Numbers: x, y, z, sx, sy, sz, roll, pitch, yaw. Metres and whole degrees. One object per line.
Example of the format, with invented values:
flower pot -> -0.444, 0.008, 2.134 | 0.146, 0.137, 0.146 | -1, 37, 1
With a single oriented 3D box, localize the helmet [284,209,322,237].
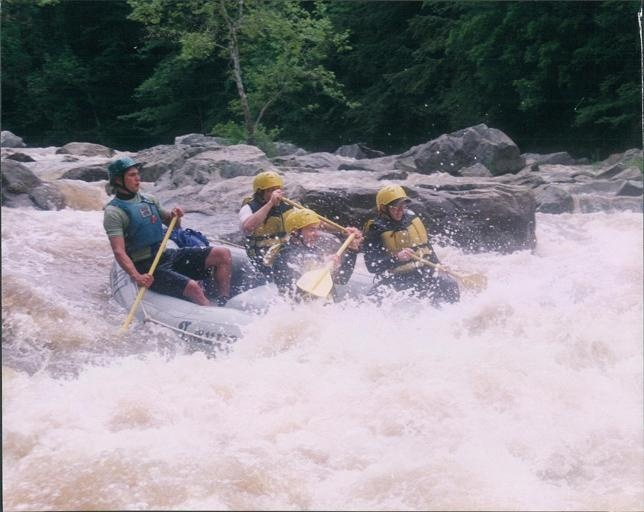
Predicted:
helmet -> -0.158, -0.289, 7.476 | 0.280, 0.131, 0.225 | -6, 13, 10

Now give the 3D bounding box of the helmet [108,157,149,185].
helmet -> -1.688, -0.728, 7.324 | 0.238, 0.228, 0.232 | 3, 15, -11

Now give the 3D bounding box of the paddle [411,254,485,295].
paddle -> 1.170, 0.164, 7.692 | 0.761, 0.247, 0.057 | 24, -19, -19

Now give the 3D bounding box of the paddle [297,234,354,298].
paddle -> 0.040, 0.118, 7.362 | 0.259, 0.716, 0.077 | 32, -21, 12

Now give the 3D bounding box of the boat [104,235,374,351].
boat -> -0.701, 0.363, 7.167 | 1.915, 0.318, 0.950 | 6, 38, -5

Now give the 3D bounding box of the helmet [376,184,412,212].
helmet -> 0.637, -0.543, 7.686 | 0.281, 0.202, 0.196 | -31, 4, 18

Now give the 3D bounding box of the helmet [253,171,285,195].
helmet -> -0.475, -0.654, 7.700 | 0.237, 0.128, 0.176 | 7, 15, -1

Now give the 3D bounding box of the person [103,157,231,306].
person -> -1.302, -0.135, 7.426 | 1.169, 1.273, 0.777 | 7, 26, 2
